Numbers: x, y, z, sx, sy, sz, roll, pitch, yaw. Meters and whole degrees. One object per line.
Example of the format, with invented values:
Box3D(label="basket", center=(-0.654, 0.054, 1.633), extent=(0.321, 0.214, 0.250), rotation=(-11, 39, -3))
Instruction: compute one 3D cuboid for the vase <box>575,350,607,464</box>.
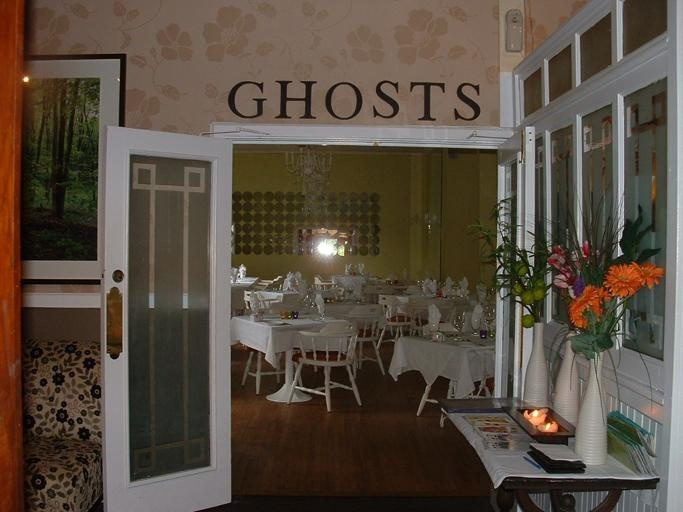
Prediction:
Box3D(label="vase", center=(1.148, 0.702, 2.597), extent=(0.128, 0.496, 0.091), rotation=(1, 3, 4))

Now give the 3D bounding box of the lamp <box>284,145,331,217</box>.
Box3D(label="lamp", center=(-0.729, -1.778, 12.972), extent=(0.842, 1.457, 0.848), rotation=(1, -6, -31))

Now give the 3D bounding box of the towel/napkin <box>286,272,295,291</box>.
Box3D(label="towel/napkin", center=(-0.955, 0.476, 10.565), extent=(0.215, 0.458, 0.228), rotation=(1, -5, -6))

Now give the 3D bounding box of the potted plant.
Box3D(label="potted plant", center=(1.091, 0.329, 3.202), extent=(0.401, 1.046, 0.378), rotation=(21, -30, -29))
